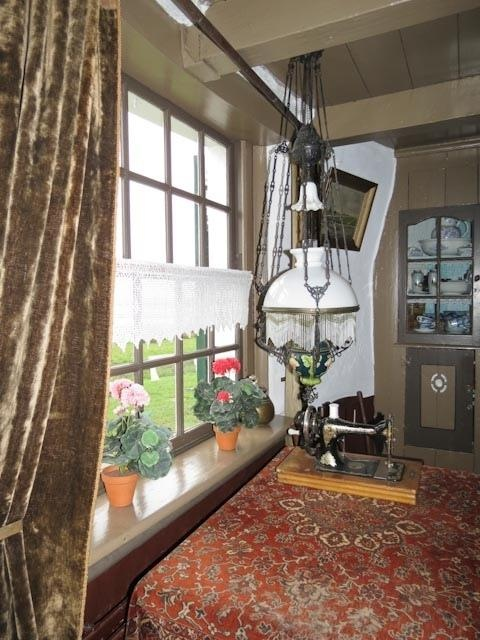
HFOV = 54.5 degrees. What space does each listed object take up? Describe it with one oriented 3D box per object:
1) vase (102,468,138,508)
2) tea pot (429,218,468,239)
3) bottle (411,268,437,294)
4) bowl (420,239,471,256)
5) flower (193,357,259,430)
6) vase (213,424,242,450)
[{"bbox_3d":[-0.308,0.428,1.190,0.087,0.073,0.091,-2,-3,16],"label":"vase"},{"bbox_3d":[1.294,-0.556,2.855,0.135,0.138,0.107,2,0,7],"label":"tea pot"},{"bbox_3d":[1.158,-0.240,2.953,0.140,0.166,0.144,1,-3,-5],"label":"bottle"},{"bbox_3d":[1.265,-0.448,2.867,0.142,0.055,0.146,-1,1,0],"label":"bowl"},{"bbox_3d":[-0.024,0.264,1.702,0.290,0.245,0.149,-6,7,-38],"label":"flower"},{"bbox_3d":[-0.045,0.421,1.686,0.087,0.072,0.090,0,0,-22],"label":"vase"}]
